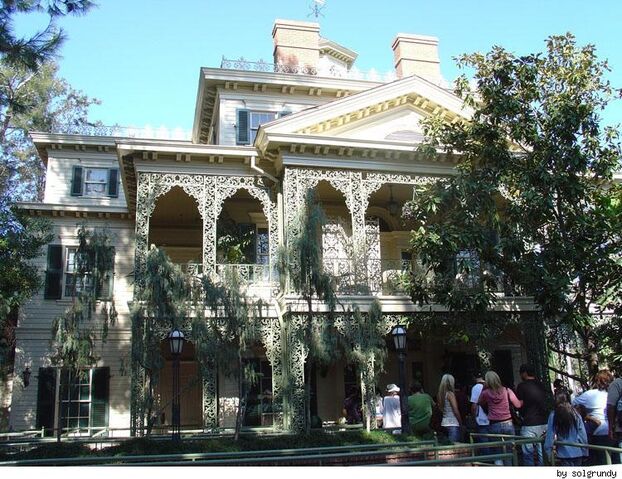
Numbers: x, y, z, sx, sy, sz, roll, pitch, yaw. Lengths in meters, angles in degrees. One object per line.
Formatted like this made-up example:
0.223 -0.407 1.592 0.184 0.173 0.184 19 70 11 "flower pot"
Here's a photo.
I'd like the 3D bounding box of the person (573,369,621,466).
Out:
5.325 3.251 10.482 0.682 1.683 1.315 -3 -16 4 "person"
